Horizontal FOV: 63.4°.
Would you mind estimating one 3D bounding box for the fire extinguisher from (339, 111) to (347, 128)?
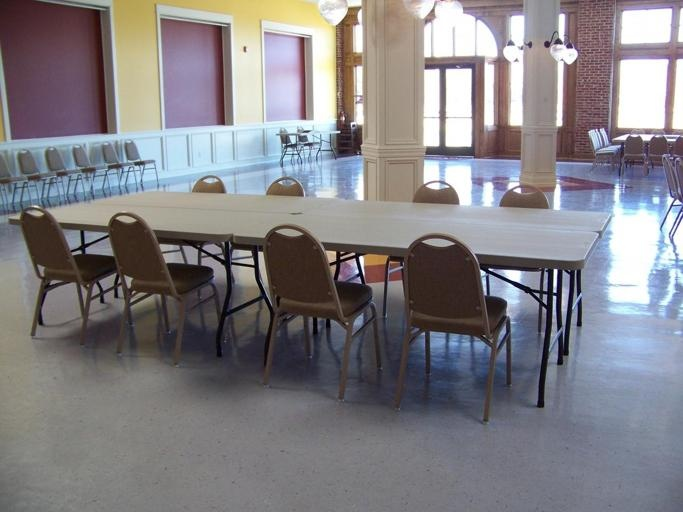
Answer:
[{"bbox_3d":[0.038,-4.235,17.286,0.215,0.506,0.270,-1,14,0],"label":"fire extinguisher"}]

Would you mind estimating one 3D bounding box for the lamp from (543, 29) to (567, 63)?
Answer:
[{"bbox_3d":[3.850,-3.813,9.971,0.323,0.537,0.822,2,15,14],"label":"lamp"}]
